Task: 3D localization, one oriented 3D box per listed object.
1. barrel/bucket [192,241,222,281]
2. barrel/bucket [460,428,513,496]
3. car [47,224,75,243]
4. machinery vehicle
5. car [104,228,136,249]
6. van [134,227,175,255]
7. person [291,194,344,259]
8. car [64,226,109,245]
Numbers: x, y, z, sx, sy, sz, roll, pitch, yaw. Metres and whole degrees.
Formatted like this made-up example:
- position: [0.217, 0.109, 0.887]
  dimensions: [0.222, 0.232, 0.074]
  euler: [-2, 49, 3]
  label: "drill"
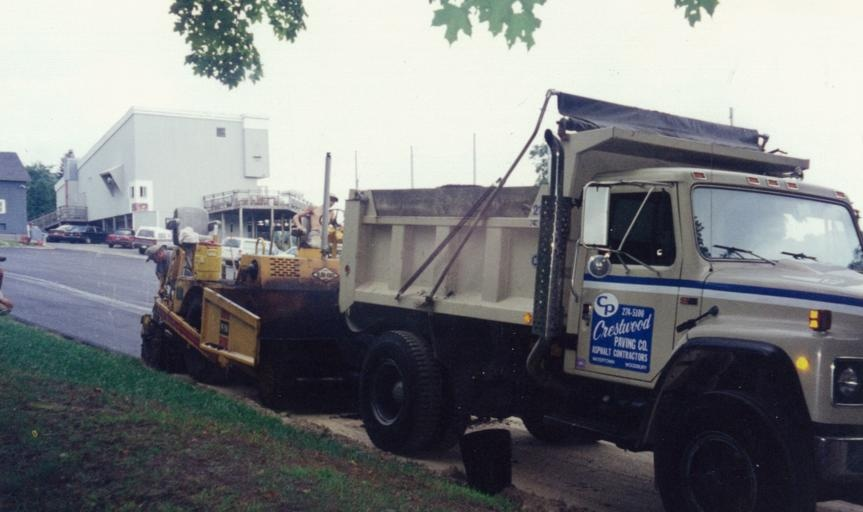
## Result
- position: [-4.197, 0.274, 12.618]
  dimensions: [0.525, 0.850, 0.804]
  euler: [3, -32, -18]
  label: "barrel/bucket"
- position: [0.731, 2.497, 8.321]
  dimensions: [0.598, 0.714, 0.656]
  euler: [1, -18, 0]
  label: "barrel/bucket"
- position: [-29.627, -1.732, 53.864]
  dimensions: [1.809, 0.928, 2.568]
  euler: [0, -1, -18]
  label: "car"
- position: [-3.648, 0.169, 13.268]
  dimensions: [5.469, 3.364, 3.424]
  euler: [-1, 4, 44]
  label: "machinery vehicle"
- position: [-20.971, -1.189, 46.253]
  dimensions: [1.148, 0.845, 2.363]
  euler: [1, 5, -5]
  label: "car"
- position: [-14.481, -0.812, 34.940]
  dimensions: [1.473, 1.305, 2.713]
  euler: [3, 9, 27]
  label: "van"
- position: [-2.197, -0.633, 12.749]
  dimensions: [0.875, 1.182, 0.951]
  euler: [13, 28, 9]
  label: "person"
- position: [-27.335, -1.701, 54.146]
  dimensions: [1.612, 1.121, 3.450]
  euler: [2, 5, 14]
  label: "car"
